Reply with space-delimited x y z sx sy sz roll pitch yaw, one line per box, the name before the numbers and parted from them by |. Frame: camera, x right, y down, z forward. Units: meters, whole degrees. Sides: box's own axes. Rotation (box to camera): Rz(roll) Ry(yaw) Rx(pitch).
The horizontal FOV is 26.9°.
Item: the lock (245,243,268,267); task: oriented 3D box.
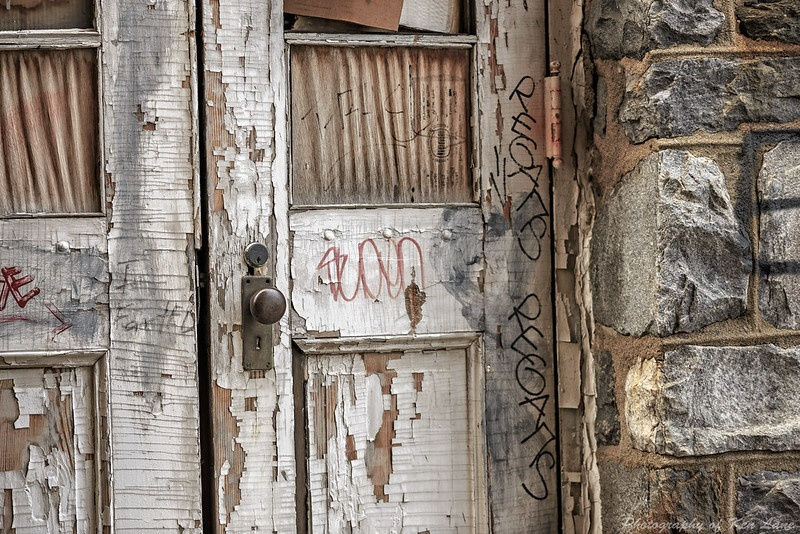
lock | -0.376 -0.042 4.408 0.057 0.062 0.057 -20 10 -23
